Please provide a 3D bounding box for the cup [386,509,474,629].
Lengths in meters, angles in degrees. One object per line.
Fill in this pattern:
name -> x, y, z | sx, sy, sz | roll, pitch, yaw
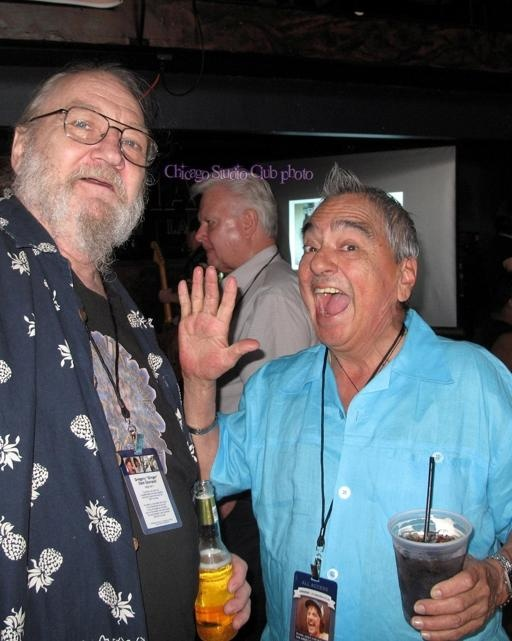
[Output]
cup -> 0.364, 0.499, 1.272 | 0.172, 0.161, 0.152 | 1, -31, -6

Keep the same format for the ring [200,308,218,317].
ring -> -0.129, -0.022, 1.697 | 0.031, 0.025, 0.010 | 0, -10, 3
